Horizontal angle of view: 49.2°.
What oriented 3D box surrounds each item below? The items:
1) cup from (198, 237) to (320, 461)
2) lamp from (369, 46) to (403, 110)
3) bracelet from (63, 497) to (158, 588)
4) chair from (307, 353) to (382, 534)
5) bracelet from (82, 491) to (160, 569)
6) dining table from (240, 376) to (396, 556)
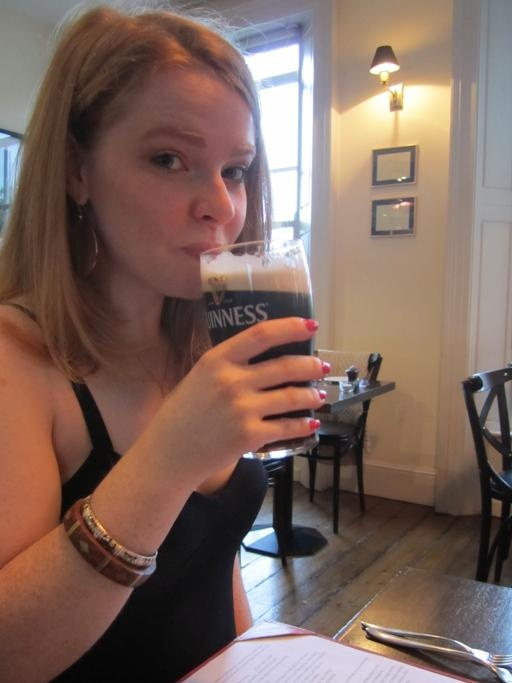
[{"bbox_3d":[-0.001,0.012,0.611,0.130,0.250,0.124,-1,2,0],"label":"cup"},{"bbox_3d":[0.819,-1.671,3.507,0.205,0.386,0.379,0,2,13],"label":"lamp"},{"bbox_3d":[-0.150,0.195,0.600,0.033,0.087,0.085,-40,43,-15],"label":"bracelet"},{"bbox_3d":[0.520,0.606,3.376,0.407,0.891,0.410,-8,-8,-2],"label":"chair"},{"bbox_3d":[-0.136,0.190,0.601,0.019,0.070,0.070,-42,-15,-18],"label":"bracelet"},{"bbox_3d":[0.316,0.633,3.061,0.892,0.784,0.919,3,8,25],"label":"dining table"}]
